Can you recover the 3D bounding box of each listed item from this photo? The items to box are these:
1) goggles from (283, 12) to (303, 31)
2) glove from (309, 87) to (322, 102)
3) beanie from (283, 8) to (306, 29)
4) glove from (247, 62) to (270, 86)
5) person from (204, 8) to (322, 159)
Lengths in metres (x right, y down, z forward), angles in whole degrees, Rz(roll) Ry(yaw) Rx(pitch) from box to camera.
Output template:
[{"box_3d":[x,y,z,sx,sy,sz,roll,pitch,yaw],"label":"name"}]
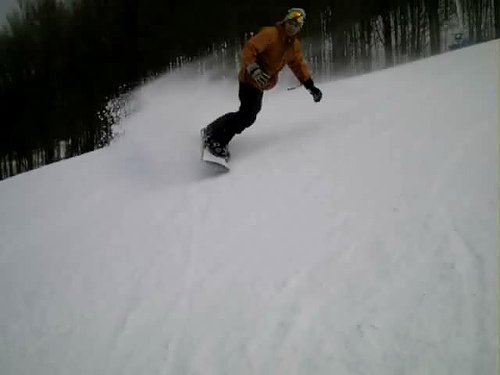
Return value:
[{"box_3d":[0.243,-0.898,2.257,0.059,0.041,0.080,6,5,-17],"label":"goggles"},{"box_3d":[0.384,-0.540,2.473,0.077,0.086,0.050,-1,-37,-50],"label":"glove"},{"box_3d":[0.252,-0.929,2.303,0.071,0.114,0.097,6,-15,-18],"label":"beanie"},{"box_3d":[0.041,-0.607,2.221,0.079,0.138,0.032,-36,-1,6],"label":"glove"},{"box_3d":[0.056,-0.580,2.410,0.709,0.724,0.366,-18,17,-20],"label":"person"}]
